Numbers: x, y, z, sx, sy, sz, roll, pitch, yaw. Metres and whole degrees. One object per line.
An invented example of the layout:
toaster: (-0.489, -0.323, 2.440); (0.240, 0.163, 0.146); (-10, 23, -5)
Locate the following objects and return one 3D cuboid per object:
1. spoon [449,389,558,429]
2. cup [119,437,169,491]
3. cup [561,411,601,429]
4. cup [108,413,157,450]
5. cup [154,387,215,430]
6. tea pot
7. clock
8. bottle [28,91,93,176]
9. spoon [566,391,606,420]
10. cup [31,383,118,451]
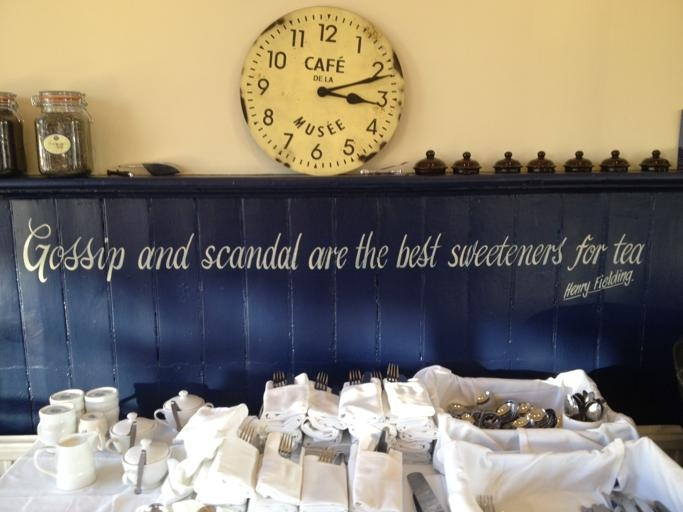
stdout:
spoon: (0.602, 0.581, 2.394); (0.391, 0.109, 0.137); (1, 0, 4)
cup: (-0.677, 0.719, 2.261); (0.130, 0.142, 0.177); (2, 5, 20)
cup: (0.871, 0.606, 2.299); (0.143, 0.055, 0.113); (1, 0, 25)
cup: (-0.769, 0.625, 2.340); (0.146, 0.117, 0.112); (-5, 4, -25)
cup: (-0.615, 0.580, 2.489); (0.195, 0.116, 0.151); (-1, 0, 25)
tea pot: (-0.938, 0.718, 2.198); (0.236, 0.171, 0.140); (-3, 5, -28)
clock: (-0.073, -0.670, 2.473); (0.553, 0.595, 0.029); (-8, 6, 0)
bottle: (-1.058, -0.463, 2.416); (0.211, 0.327, 0.112); (1, 0, -27)
spoon: (0.903, 0.561, 2.351); (0.100, 0.079, 0.121); (-3, 2, 13)
cup: (-1.007, 0.619, 2.427); (0.197, 0.200, 0.283); (-5, -13, 33)
